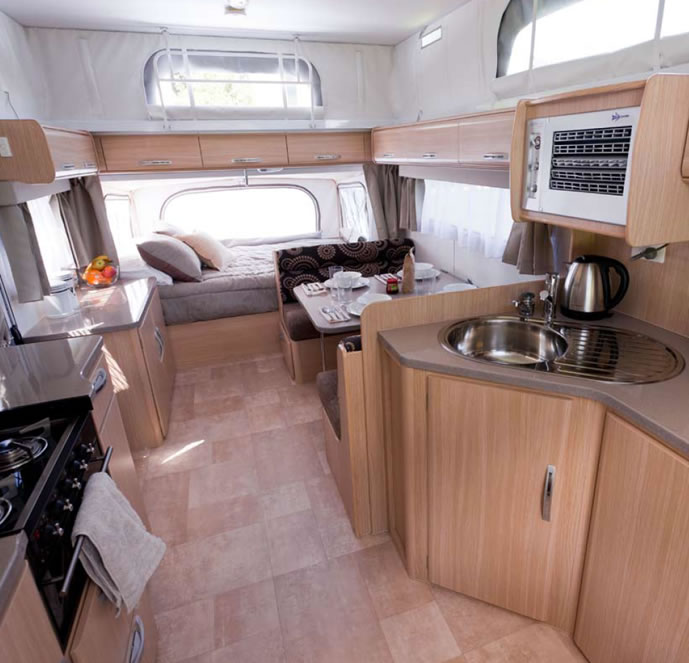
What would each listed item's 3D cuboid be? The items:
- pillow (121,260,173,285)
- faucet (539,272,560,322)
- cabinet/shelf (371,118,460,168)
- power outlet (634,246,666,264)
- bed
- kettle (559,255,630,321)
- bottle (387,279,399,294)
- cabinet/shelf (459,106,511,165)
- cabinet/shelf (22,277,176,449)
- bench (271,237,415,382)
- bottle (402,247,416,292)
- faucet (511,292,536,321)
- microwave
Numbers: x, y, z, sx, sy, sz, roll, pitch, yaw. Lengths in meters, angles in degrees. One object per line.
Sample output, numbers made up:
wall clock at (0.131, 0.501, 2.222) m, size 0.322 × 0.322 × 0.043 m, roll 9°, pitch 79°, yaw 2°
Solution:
pillow at (-1.445, -0.413, 3.619) m, size 0.247 × 0.066 × 0.251 m, roll -19°, pitch 43°, yaw -33°
faucet at (0.722, -0.120, 1.785) m, size 0.057 × 0.181 × 0.045 m, roll -8°, pitch 23°, yaw -6°
cabinet/shelf at (0.407, -1.086, 2.975) m, size 0.150 × 0.235 × 0.928 m, roll -15°, pitch 23°, yaw -24°
power outlet at (1.006, -0.250, 1.650) m, size 0.078 × 0.063 × 0.043 m, roll 8°, pitch 22°, yaw 34°
bed at (-0.835, -0.360, 3.882) m, size 0.979 × 0.660 × 1.006 m, roll -5°, pitch 24°, yaw -14°
kettle at (0.894, -0.158, 1.821) m, size 0.209 × 0.229 × 0.161 m, roll 14°, pitch 29°, yaw 41°
bottle at (0.275, -0.256, 2.892) m, size 0.069 × 0.078 × 0.130 m, roll -3°, pitch 4°, yaw 5°
cabinet/shelf at (0.648, -0.811, 2.169) m, size 0.164 × 0.205 × 0.304 m, roll -12°, pitch 21°, yaw -29°
cabinet/shelf at (-1.330, 0.168, 2.960) m, size 0.516 × 0.705 × 0.984 m, roll -9°, pitch 21°, yaw -10°
bench at (0.125, -0.175, 3.381) m, size 1.104 × 0.986 × 0.887 m, roll -8°, pitch 3°, yaw -7°
bottle at (0.360, -0.338, 2.862) m, size 0.074 × 0.242 × 0.157 m, roll -2°, pitch 19°, yaw 7°
faucet at (0.650, -0.091, 1.833) m, size 0.071 × 0.099 × 0.058 m, roll 0°, pitch 19°, yaw 15°
microwave at (0.594, -0.450, 1.407) m, size 0.377 × 0.275 × 0.206 m, roll -7°, pitch 15°, yaw -21°
